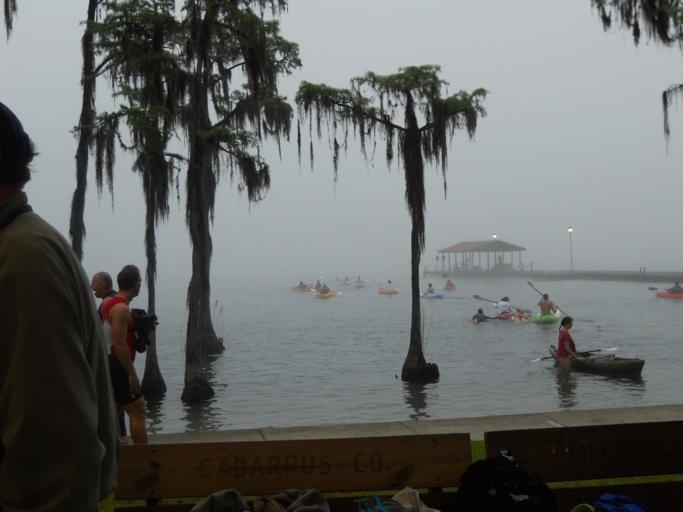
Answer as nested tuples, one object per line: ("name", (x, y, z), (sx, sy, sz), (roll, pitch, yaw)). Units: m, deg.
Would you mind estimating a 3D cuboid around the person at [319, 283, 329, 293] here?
("person", (-1.995, 3.350, 100.985), (1.148, 0.852, 1.270), (0, -3, 8))
